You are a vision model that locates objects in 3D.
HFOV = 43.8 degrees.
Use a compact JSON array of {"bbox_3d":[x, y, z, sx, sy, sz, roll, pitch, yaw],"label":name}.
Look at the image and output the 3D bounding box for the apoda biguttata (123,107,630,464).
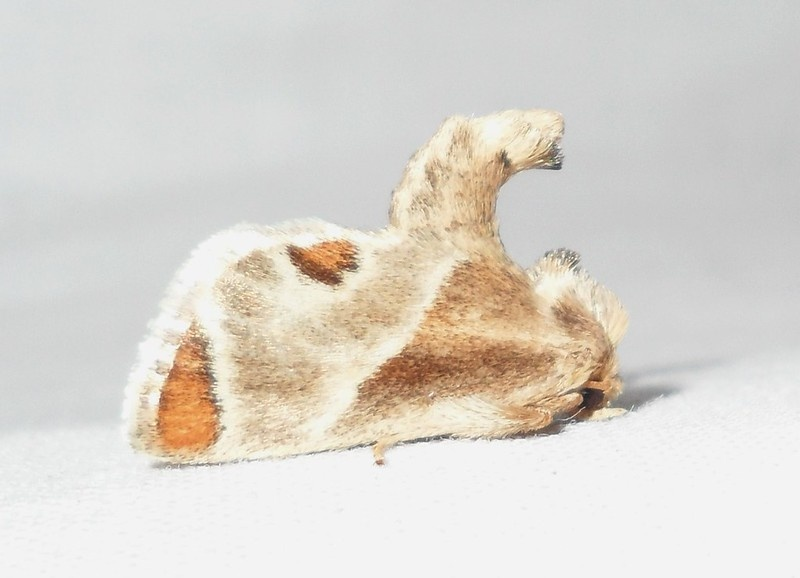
[{"bbox_3d":[-0.042,-0.020,1.680,0.904,0.552,0.215,-9,4,-12],"label":"apoda biguttata"}]
